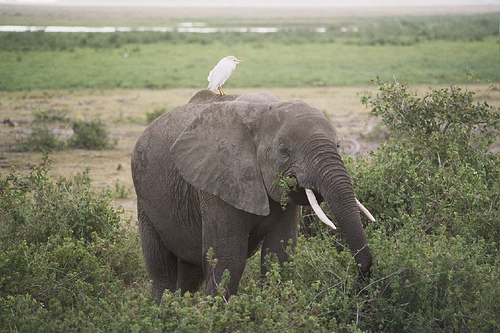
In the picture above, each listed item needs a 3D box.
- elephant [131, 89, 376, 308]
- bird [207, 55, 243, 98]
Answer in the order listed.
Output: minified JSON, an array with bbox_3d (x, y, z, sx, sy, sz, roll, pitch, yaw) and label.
[{"bbox_3d":[-0.146,0.846,14.985,5.227,3.899,3.063,-11,-12,42],"label":"elephant"},{"bbox_3d":[-0.524,-1.760,16.654,0.654,0.812,0.391,6,9,0],"label":"bird"}]
